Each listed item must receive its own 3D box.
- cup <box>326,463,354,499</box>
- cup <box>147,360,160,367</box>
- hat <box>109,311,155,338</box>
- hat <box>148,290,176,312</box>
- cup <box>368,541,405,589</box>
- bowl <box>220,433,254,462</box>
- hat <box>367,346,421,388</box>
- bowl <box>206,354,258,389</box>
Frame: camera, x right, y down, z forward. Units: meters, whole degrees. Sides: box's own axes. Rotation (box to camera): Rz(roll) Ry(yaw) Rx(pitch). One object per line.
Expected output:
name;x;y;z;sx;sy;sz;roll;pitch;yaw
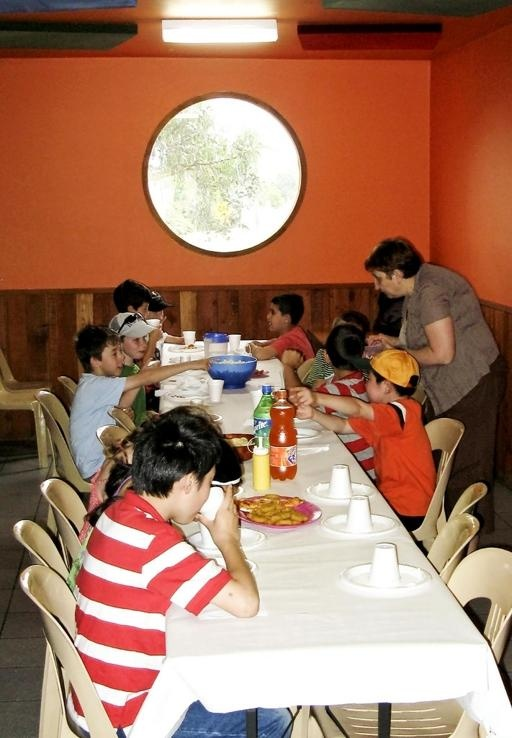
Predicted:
cup;0.214;0.299;1.548;0.078;0.082;0.075;2;14;0
cup;-0.689;-0.038;3.867;0.054;0.052;0.104;0;8;9
hat;-0.746;-0.255;3.434;0.241;0.124;0.158;6;21;40
hat;-0.759;-0.516;4.461;0.174;0.089;0.241;0;14;-4
cup;0.223;0.346;1.005;0.069;0.071;0.067;2;16;0
bowl;-0.054;0.251;1.913;0.098;0.043;0.096;0;4;0
hat;0.477;-0.007;2.062;0.156;0.094;0.117;30;41;18
bowl;-0.123;0.003;3.044;0.203;0.121;0.203;-1;11;0
